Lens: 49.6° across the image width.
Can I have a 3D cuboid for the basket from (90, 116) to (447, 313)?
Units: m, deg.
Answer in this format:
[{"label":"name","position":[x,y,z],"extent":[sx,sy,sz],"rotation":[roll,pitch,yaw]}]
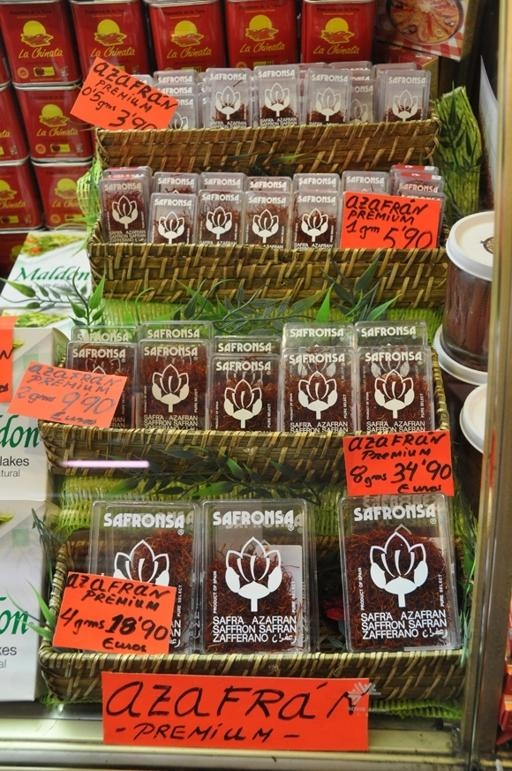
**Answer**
[{"label":"basket","position":[0.016,-0.373,1.224],"extent":[0.801,0.277,0.396],"rotation":[-2,39,4]}]
